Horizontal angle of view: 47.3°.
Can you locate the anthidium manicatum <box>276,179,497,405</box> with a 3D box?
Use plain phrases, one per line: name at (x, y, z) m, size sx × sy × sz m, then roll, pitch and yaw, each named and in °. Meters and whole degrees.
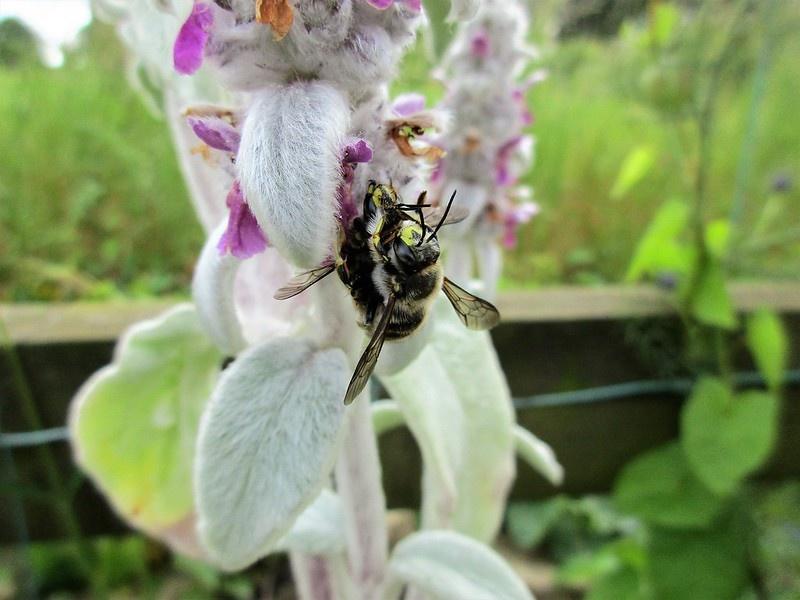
anthidium manicatum at (0.002, -0.017, 0.827) m, size 0.131 × 0.056 × 0.189 m, roll -35°, pitch 27°, yaw 52°
